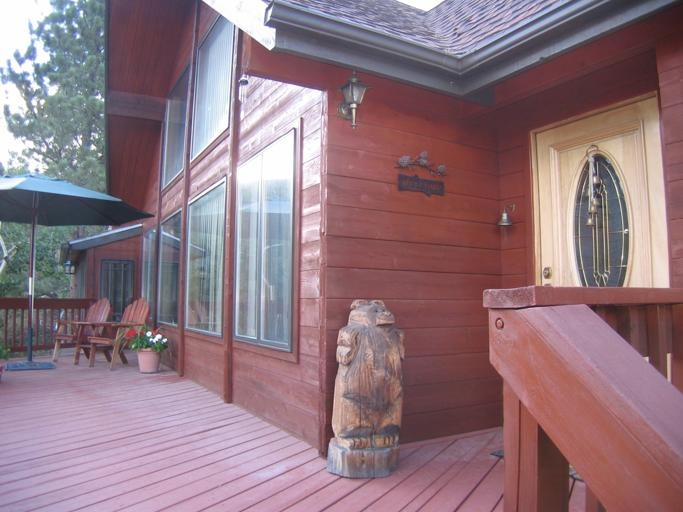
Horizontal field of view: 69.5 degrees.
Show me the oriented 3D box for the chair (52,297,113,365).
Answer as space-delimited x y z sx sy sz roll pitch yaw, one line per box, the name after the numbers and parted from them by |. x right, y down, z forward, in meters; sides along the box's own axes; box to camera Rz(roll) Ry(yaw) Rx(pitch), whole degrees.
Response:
-4.385 1.286 8.323 0.915 1.188 0.815 -4 -7 34 | chair

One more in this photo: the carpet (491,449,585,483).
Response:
1.412 1.457 3.528 0.656 0.104 0.295 -1 -1 45 | carpet

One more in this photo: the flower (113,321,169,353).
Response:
-2.866 1.182 7.132 0.581 0.338 0.625 5 -1 17 | flower

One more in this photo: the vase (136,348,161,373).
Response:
-2.770 1.485 7.041 0.301 0.270 0.314 1 -5 -1 | vase
